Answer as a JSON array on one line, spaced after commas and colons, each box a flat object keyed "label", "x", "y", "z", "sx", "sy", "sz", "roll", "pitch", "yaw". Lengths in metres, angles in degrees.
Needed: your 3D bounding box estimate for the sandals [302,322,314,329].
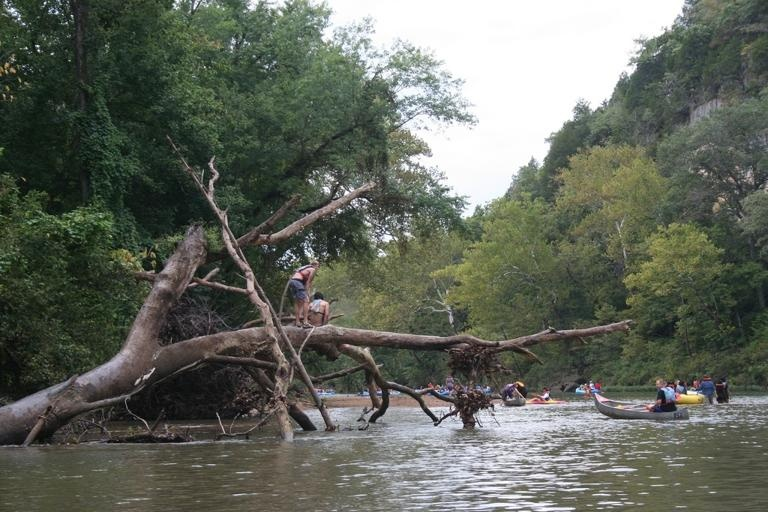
[{"label": "sandals", "x": -3.251, "y": 3.018, "z": 41.597, "sx": 0.451, "sy": 0.201, "sz": 0.262, "roll": -1, "pitch": 1, "yaw": 9}]
